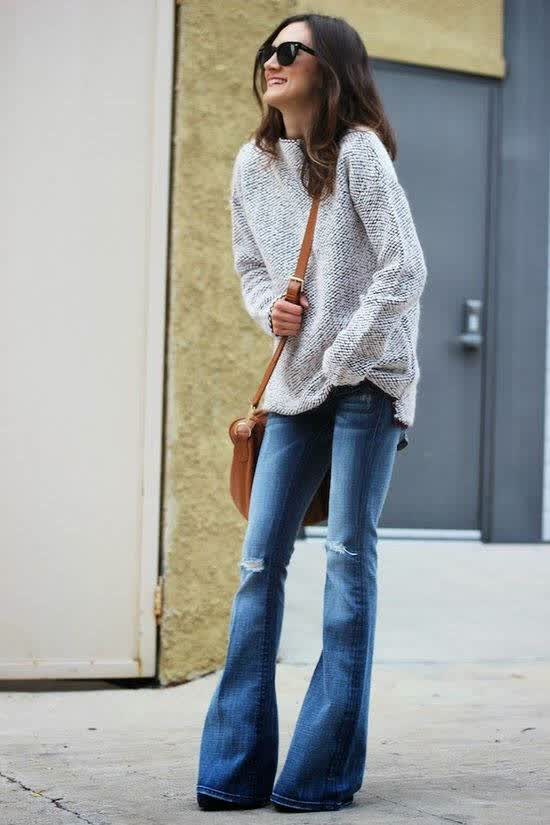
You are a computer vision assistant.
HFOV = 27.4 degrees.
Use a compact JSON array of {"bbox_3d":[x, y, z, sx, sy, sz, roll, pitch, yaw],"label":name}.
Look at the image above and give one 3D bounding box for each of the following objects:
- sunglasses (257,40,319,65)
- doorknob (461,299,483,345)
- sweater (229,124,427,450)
[{"bbox_3d":[0.036,-0.836,2.615,0.088,0.035,0.091,15,-9,-43],"label":"sunglasses"},{"bbox_3d":[0.792,-0.363,4.480,0.089,0.172,0.064,4,7,7],"label":"doorknob"},{"bbox_3d":[0.097,-0.320,2.653,0.536,0.677,0.329,6,0,16],"label":"sweater"}]
